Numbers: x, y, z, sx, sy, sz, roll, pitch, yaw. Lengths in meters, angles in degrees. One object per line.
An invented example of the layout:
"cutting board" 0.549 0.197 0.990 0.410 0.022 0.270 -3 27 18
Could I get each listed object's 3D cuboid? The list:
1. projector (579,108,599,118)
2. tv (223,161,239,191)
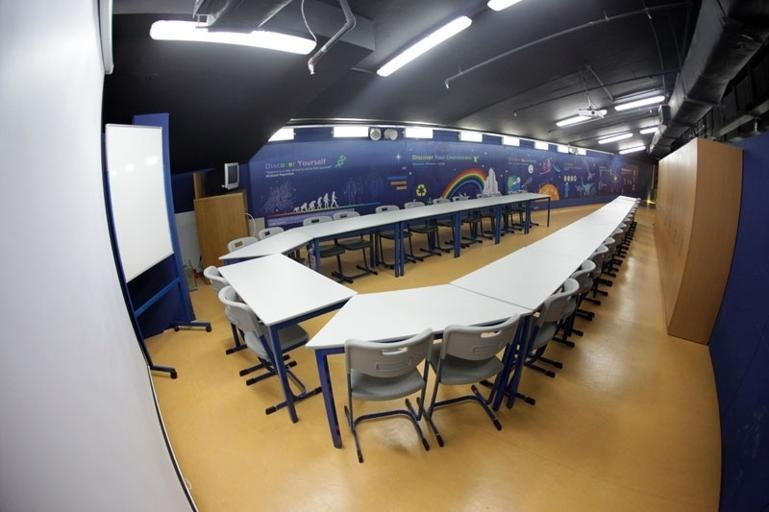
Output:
"projector" 3.618 -2.518 8.256 0.307 0.079 0.316 -3 8 -12
"tv" -2.245 -1.165 6.760 0.140 0.427 0.408 1 6 9
